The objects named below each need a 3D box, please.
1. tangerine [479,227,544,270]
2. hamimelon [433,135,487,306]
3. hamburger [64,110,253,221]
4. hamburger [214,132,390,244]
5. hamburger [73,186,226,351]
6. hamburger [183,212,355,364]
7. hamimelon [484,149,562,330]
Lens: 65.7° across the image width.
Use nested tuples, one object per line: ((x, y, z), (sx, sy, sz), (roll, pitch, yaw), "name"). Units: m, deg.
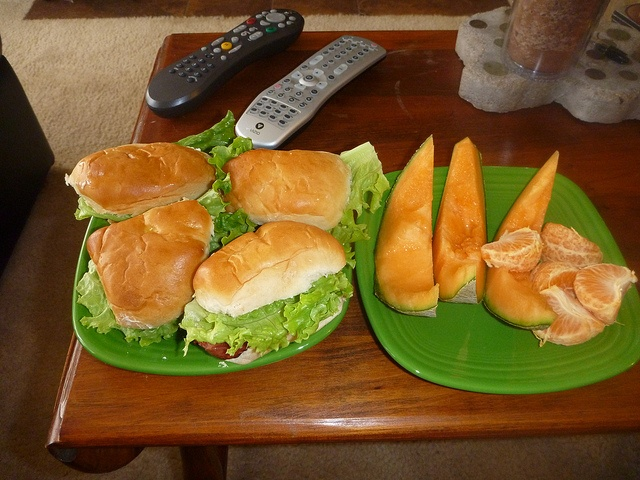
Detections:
((0.265, 0.008, 0.664), (0.083, 0.030, 0.066), (3, 39, 43), "tangerine")
((0.203, -0.028, 0.727), (0.081, 0.079, 0.241), (0, 67, 18), "hamimelon")
((-0.205, -0.092, 0.645), (0.182, 0.065, 0.148), (-22, 48, -10), "hamburger")
((-0.017, -0.069, 0.643), (0.180, 0.056, 0.165), (1, 55, -10), "hamburger")
((-0.202, 0.043, 0.610), (0.217, 0.107, 0.127), (-24, 61, -9), "hamburger")
((-0.057, 0.055, 0.581), (0.181, 0.063, 0.160), (-16, 66, -5), "hamburger")
((0.317, -0.013, 0.716), (0.097, 0.094, 0.280), (29, 71, -23), "hamimelon")
